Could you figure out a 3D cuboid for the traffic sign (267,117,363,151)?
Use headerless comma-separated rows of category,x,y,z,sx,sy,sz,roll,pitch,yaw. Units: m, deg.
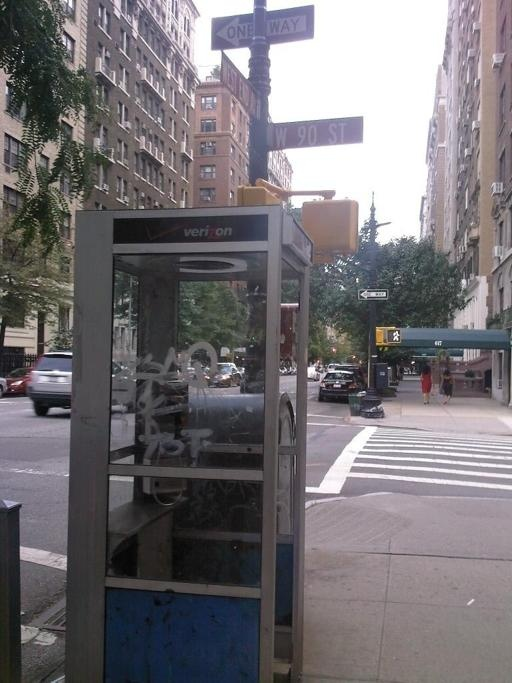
traffic sign,0.479,-1.724,5.312,0.793,0.260,0.169,1,-2,21

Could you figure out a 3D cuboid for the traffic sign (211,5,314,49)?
traffic sign,0.008,-2.633,5.413,0.927,0.374,0.195,1,-2,21

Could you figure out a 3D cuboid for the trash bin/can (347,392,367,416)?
trash bin/can,3.399,2.126,22.129,0.532,0.914,0.647,-1,-6,16

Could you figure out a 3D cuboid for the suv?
suv,-4.154,0.904,15.896,1.722,2.098,4.471,0,-1,13

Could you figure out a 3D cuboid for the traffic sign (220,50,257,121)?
traffic sign,-0.165,-2.050,5.088,0.166,0.391,0.539,0,-2,22

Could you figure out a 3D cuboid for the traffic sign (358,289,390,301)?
traffic sign,3.680,-1.517,20.482,0.829,0.386,1.041,1,-3,21
